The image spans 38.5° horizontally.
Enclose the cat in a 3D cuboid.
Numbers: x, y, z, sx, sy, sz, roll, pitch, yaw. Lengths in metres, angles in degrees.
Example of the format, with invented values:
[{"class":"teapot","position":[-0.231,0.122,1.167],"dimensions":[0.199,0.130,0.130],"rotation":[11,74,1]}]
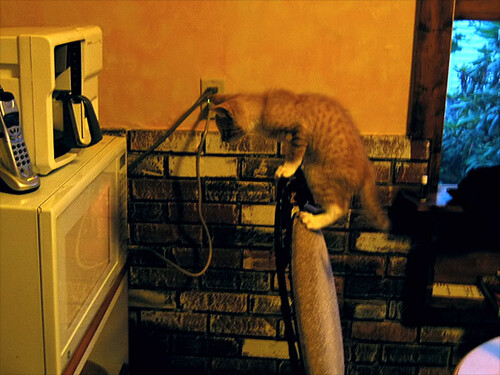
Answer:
[{"class":"cat","position":[0.117,-0.161,2.480],"dimensions":[0.685,0.549,0.295],"rotation":[10,15,-1]}]
